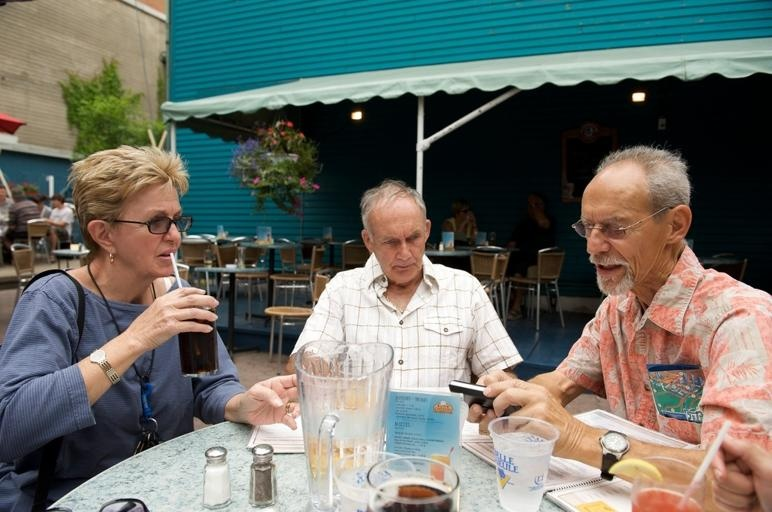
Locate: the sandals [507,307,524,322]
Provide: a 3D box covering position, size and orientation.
[{"bbox_3d":[1.847,0.810,8.086,0.156,0.106,0.303,0,-1,33],"label":"sandals"}]

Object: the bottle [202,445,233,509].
[{"bbox_3d":[-0.655,0.839,2.163,0.100,0.211,0.111,-1,5,-15],"label":"bottle"}]

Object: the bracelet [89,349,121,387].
[{"bbox_3d":[-1.231,0.480,2.446,0.069,0.115,0.111,-39,-5,-17],"label":"bracelet"}]

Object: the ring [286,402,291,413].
[{"bbox_3d":[-0.451,0.688,2.572,0.026,0.016,0.033,22,19,-23],"label":"ring"}]

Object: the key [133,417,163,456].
[{"bbox_3d":[-1.138,0.847,2.674,0.144,0.185,0.069,-2,-7,0],"label":"key"}]

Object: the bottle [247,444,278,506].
[{"bbox_3d":[-0.475,0.836,2.150,0.103,0.224,0.069,-1,5,-12],"label":"bottle"}]
